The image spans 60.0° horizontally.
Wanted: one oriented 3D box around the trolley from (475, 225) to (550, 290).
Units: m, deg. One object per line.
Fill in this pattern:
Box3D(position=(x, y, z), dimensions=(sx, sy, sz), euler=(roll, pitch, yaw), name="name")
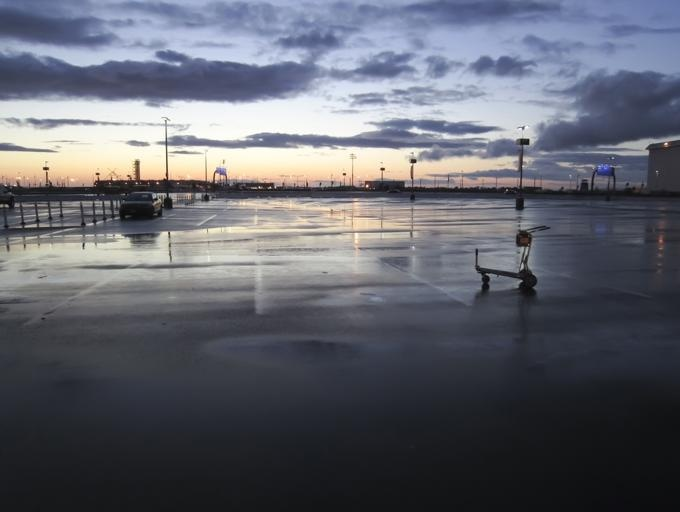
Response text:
Box3D(position=(3.984, 0.063, 13.723), dimensions=(1.660, 1.178, 0.760), euler=(0, 6, 9), name="trolley")
